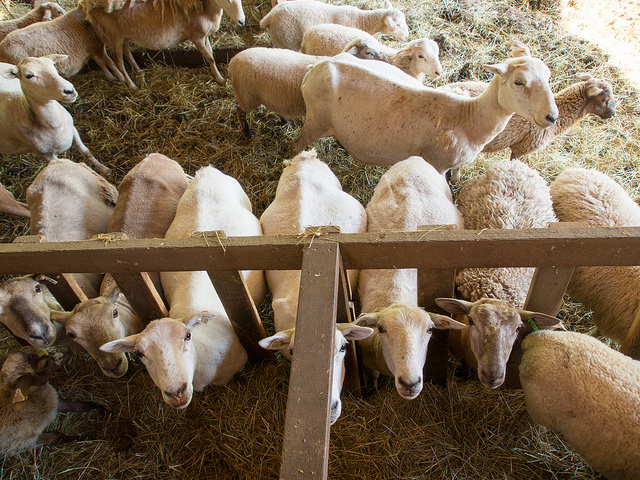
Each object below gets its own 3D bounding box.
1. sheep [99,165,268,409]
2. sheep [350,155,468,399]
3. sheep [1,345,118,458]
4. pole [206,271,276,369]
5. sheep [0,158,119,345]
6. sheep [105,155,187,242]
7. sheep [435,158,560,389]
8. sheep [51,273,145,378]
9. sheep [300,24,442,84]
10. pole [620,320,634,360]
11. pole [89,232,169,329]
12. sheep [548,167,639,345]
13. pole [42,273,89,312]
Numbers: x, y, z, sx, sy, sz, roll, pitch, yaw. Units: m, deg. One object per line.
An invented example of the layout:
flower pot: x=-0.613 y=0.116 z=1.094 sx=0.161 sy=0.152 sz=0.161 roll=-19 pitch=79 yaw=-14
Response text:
sheep: x=-1.249 y=0.398 z=6.656 sx=1.144 sy=1.663 sz=2.748 roll=1 pitch=63 yaw=-2
sheep: x=0.885 y=0.760 z=7.043 sx=1.193 sy=1.630 sz=3.292 roll=-1 pitch=26 yaw=8
sheep: x=-2.853 y=1.523 z=6.346 sx=1.449 sy=0.744 sz=0.682 roll=-13 pitch=28 yaw=-2
pole: x=-0.636 y=0.682 z=6.350 sx=0.336 sy=1.218 sz=0.643 roll=-21 pitch=35 yaw=-5
sheep: x=-2.726 y=0.174 z=6.613 sx=0.851 sy=1.092 sz=2.067 roll=3 pitch=64 yaw=-8
sheep: x=-1.982 y=-0.485 z=7.277 sx=0.680 sy=0.814 sz=1.426 roll=8 pitch=73 yaw=-16
sheep: x=1.874 y=0.287 z=6.578 sx=1.088 sy=1.498 sz=2.769 roll=3 pitch=56 yaw=23
sheep: x=-2.114 y=0.902 z=6.170 sx=0.543 sy=0.742 sz=1.430 roll=-36 pitch=36 yaw=-16
sheep: x=0.622 y=-2.464 z=8.365 sx=1.585 sy=0.834 sz=0.475 roll=28 pitch=77 yaw=16
pole: x=2.997 y=0.968 z=6.136 sx=0.120 sy=0.342 sz=0.180 roll=21 pitch=18 yaw=20
pole: x=-1.831 y=0.413 z=6.044 sx=0.273 sy=0.495 sz=0.882 roll=-27 pitch=101 yaw=-7
sheep: x=2.725 y=0.240 z=6.292 sx=0.667 sy=0.974 sz=1.687 roll=-11 pitch=77 yaw=16
pole: x=-2.552 y=0.518 z=6.315 sx=0.244 sy=0.315 sz=0.583 roll=-13 pitch=73 yaw=-17
